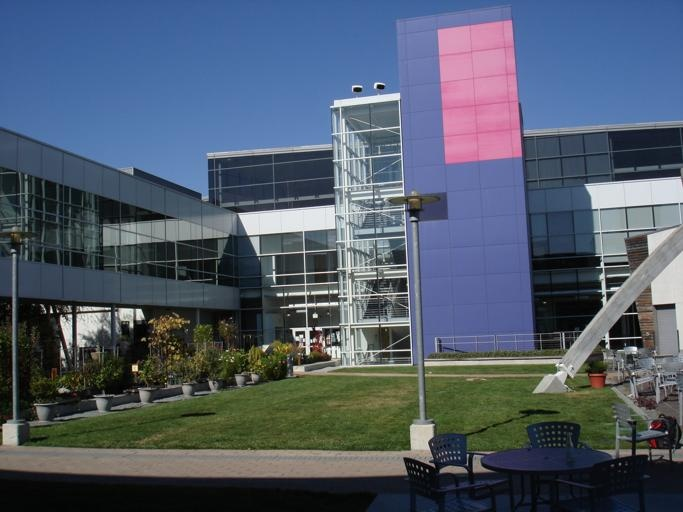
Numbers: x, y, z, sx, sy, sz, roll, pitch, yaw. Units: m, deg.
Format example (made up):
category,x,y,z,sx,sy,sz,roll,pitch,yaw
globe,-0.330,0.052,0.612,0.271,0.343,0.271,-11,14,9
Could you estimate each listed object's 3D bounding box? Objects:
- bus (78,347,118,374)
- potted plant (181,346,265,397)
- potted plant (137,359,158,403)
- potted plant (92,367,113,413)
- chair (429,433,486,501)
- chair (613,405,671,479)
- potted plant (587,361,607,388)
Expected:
category,x,y,z,sx,sy,sz,roll,pitch,yaw
bus,-11.967,4.829,37.045,1.642,1.126,18.089,-2,-6,-19
potted plant,-5.284,4.831,32.787,1.769,1.166,2.700,-3,-2,10
potted plant,-7.634,4.797,29.689,0.872,1.910,0.811,-1,-10,-10
potted plant,-8.445,4.837,26.881,0.558,1.205,2.488,-3,-6,-18
chair,2.155,4.078,14.646,0.978,1.021,0.898,8,-34,-16
chair,6.444,3.777,16.174,0.961,1.191,0.875,-3,-9,-5
potted plant,8.757,4.159,26.555,0.974,0.948,0.787,0,-4,13
